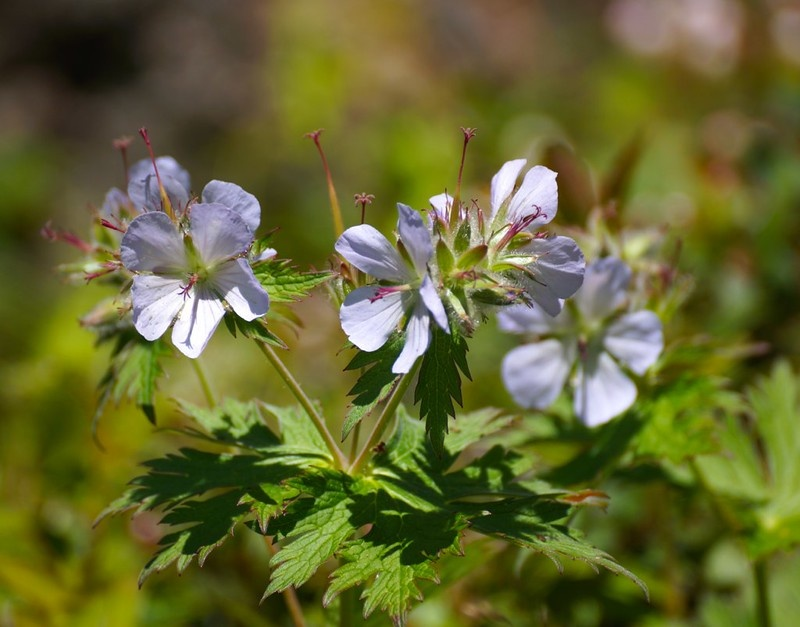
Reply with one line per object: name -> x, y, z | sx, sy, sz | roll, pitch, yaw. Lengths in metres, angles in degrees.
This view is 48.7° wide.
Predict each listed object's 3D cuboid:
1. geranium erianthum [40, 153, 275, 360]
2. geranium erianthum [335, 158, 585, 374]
geranium erianthum -> -1.183, -0.286, 4.700 | 0.740, 1.023, 1.213 | -24, 28, -34
geranium erianthum -> 0.277, -0.224, 4.531 | 1.245, 0.872, 0.621 | -17, 24, -19
